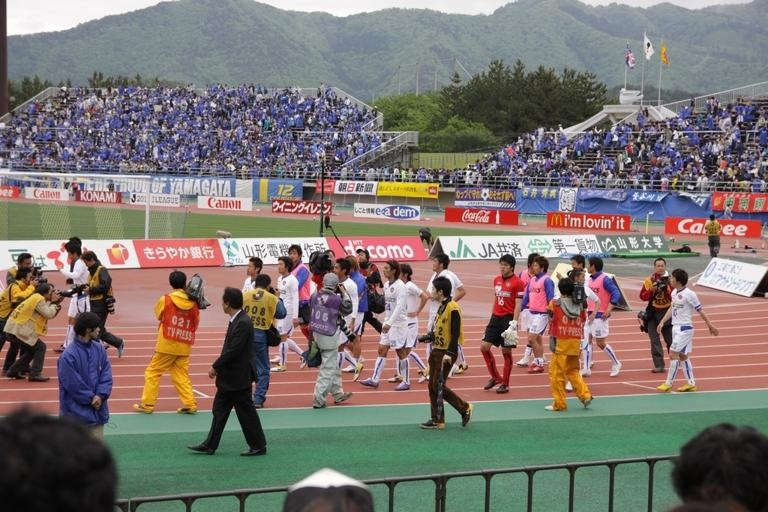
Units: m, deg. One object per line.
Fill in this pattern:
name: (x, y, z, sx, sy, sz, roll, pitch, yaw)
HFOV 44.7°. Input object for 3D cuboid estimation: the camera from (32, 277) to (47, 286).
camera: (-7.864, 0.584, 21.161, 0.266, 0.158, 0.251, -2, 6, 7)

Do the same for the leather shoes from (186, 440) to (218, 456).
leather shoes: (-3.436, 3.589, 17.568, 0.639, 0.266, 0.204, 8, -4, 7)

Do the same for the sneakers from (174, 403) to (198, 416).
sneakers: (-4.118, 3.161, 19.323, 0.444, 0.208, 0.164, 4, 5, 34)

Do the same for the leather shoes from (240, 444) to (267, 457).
leather shoes: (-2.456, 3.635, 17.563, 0.512, 0.186, 0.183, 2, 2, 0)

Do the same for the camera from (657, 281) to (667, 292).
camera: (6.587, 0.703, 22.030, 0.216, 0.138, 0.203, -1, 11, 7)

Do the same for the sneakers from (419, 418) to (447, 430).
sneakers: (0.992, 3.380, 18.904, 0.522, 0.223, 0.196, 4, 3, 2)

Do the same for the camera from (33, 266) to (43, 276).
camera: (-8.357, 0.360, 22.394, 0.235, 0.214, 0.405, 5, 1, -35)

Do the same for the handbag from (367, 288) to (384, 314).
handbag: (-0.119, 1.103, 22.621, 0.567, 0.542, 0.421, 0, 3, 0)

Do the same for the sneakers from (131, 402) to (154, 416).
sneakers: (-5.025, 3.142, 19.306, 0.461, 0.212, 0.179, 10, 0, 17)

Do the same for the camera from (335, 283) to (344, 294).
camera: (-0.964, 0.713, 20.235, 0.214, 0.197, 0.133, 2, 6, 22)

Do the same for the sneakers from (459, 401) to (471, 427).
sneakers: (1.669, 3.205, 19.013, 0.232, 0.489, 0.183, 4, 16, 3)

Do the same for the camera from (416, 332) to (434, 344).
camera: (0.874, 1.682, 19.138, 0.241, 0.090, 0.219, -7, 29, -13)
